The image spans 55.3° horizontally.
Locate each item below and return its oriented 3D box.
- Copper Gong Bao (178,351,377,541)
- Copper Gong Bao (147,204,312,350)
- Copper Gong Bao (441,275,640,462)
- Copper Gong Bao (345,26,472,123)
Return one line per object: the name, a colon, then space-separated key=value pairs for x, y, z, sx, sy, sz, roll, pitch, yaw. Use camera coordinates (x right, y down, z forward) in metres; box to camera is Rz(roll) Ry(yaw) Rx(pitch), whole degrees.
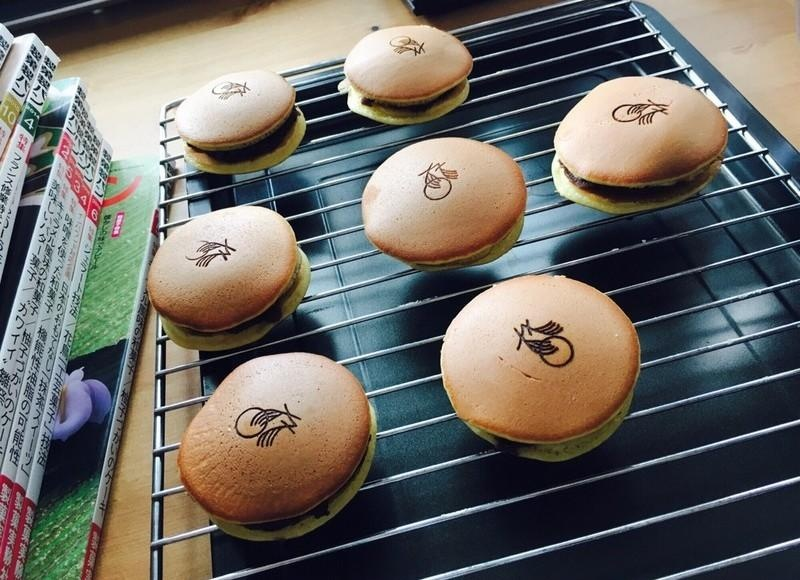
Copper Gong Bao: x=-0.221 y=0.257 z=1.361 sx=0.298 sy=0.054 sz=0.337 roll=25 pitch=70 yaw=16
Copper Gong Bao: x=-0.347 y=-0.022 z=1.544 sx=0.324 sy=0.135 sz=0.274 roll=-23 pitch=66 yaw=-5
Copper Gong Bao: x=0.250 y=0.116 z=1.373 sx=0.332 sy=0.060 sz=0.336 roll=32 pitch=72 yaw=18
Copper Gong Bao: x=0.063 y=-0.480 z=1.762 sx=0.366 sy=0.131 sz=0.301 roll=0 pitch=40 yaw=2
